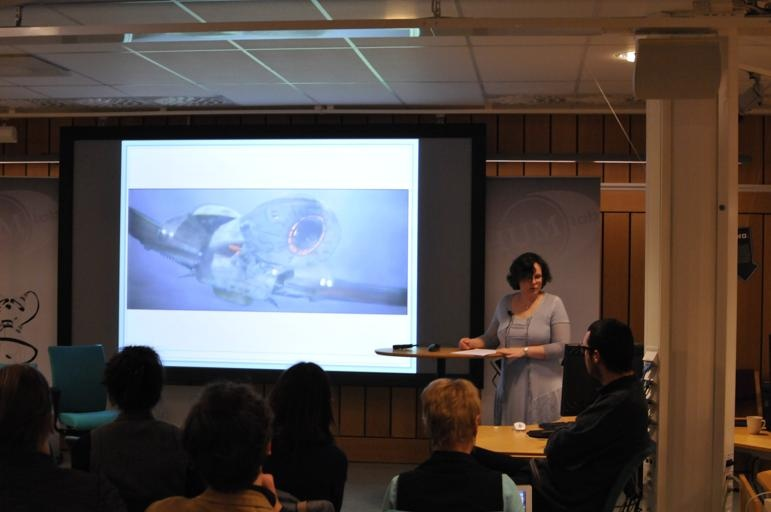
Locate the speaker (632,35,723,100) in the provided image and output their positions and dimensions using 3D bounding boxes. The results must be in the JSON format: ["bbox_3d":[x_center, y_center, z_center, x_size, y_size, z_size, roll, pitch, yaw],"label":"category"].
[{"bbox_3d":[1.801,-1.174,5.233,0.545,0.392,0.382,1,0,6],"label":"speaker"}]

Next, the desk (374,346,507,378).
[{"bbox_3d":[0.350,0.840,6.620,0.906,0.278,1.207,1,-3,-9],"label":"desk"}]

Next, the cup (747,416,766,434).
[{"bbox_3d":[2.751,1.256,6.284,0.119,0.113,0.144,0,-11,0],"label":"cup"}]
